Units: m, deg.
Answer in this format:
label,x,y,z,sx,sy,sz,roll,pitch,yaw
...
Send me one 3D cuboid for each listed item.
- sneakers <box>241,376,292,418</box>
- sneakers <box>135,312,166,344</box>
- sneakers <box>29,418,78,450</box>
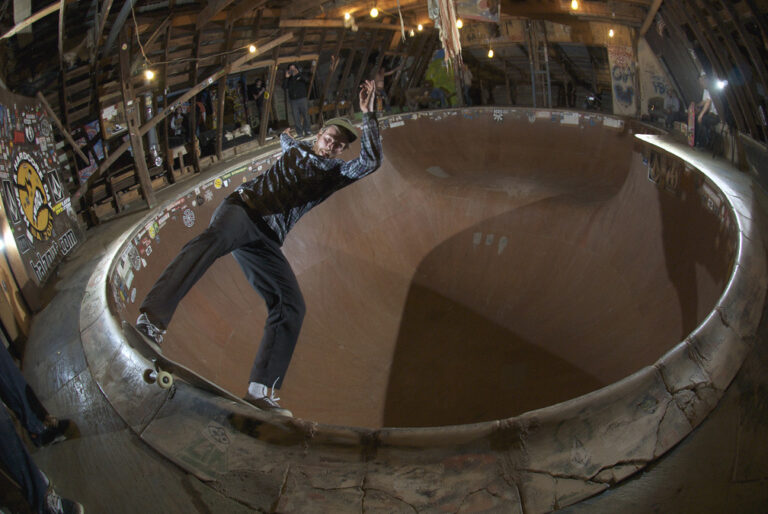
label,x,y,z,sx,sy,sz,roll,pitch,yaw
sneakers,-1.090,1.342,4.240,0.581,0.236,0.193,2,-17,33
sneakers,-2.112,0.656,4.150,0.224,0.253,0.191,-22,28,44
sneakers,-2.666,1.440,3.740,0.285,0.201,0.158,-18,26,-23
